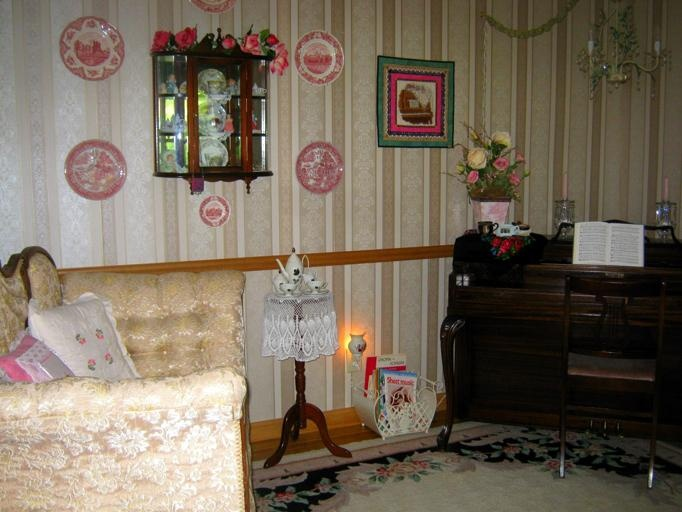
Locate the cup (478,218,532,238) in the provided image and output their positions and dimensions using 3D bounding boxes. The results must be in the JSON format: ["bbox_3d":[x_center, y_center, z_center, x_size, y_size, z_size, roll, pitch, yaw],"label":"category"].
[{"bbox_3d":[1.127,-0.183,4.018,0.277,0.102,0.168,2,1,33],"label":"cup"}]

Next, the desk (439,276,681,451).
[{"bbox_3d":[1.529,0.659,3.927,1.727,1.394,1.033,-1,-4,32],"label":"desk"}]

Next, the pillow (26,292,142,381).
[{"bbox_3d":[-1.293,0.380,2.921,0.146,0.532,0.521,-28,-21,20],"label":"pillow"}]

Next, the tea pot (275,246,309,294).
[{"bbox_3d":[-0.316,0.101,3.574,0.194,0.255,0.133,-5,13,-19],"label":"tea pot"}]

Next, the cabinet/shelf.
[{"bbox_3d":[-0.768,-0.831,3.589,0.688,0.812,0.260,-3,9,-22],"label":"cabinet/shelf"}]

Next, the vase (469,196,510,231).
[{"bbox_3d":[1.075,-0.288,4.170,0.202,0.255,0.248,0,0,27],"label":"vase"}]

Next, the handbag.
[{"bbox_3d":[0.968,0.006,3.895,0.338,0.276,0.370,1,-5,-8],"label":"handbag"}]

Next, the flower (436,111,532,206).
[{"bbox_3d":[1.068,-0.745,4.227,0.613,0.568,0.643,6,9,27],"label":"flower"}]

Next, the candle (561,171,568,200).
[{"bbox_3d":[1.545,-0.478,3.967,0.025,0.177,0.111,3,13,16],"label":"candle"}]
